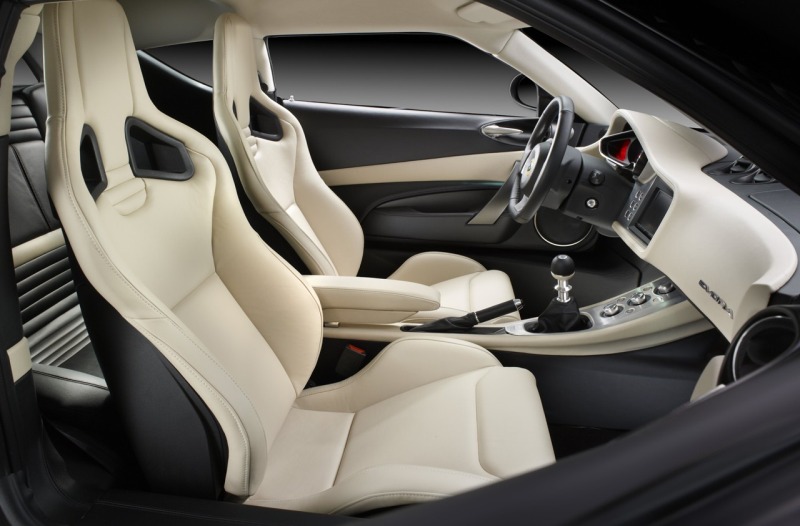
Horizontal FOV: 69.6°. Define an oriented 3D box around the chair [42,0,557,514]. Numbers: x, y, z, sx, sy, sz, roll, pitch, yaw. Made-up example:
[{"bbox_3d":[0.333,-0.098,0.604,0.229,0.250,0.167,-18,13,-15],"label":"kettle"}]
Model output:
[{"bbox_3d":[-0.265,-0.169,1.780,1.228,1.483,0.986,0,20,6],"label":"chair"}]
